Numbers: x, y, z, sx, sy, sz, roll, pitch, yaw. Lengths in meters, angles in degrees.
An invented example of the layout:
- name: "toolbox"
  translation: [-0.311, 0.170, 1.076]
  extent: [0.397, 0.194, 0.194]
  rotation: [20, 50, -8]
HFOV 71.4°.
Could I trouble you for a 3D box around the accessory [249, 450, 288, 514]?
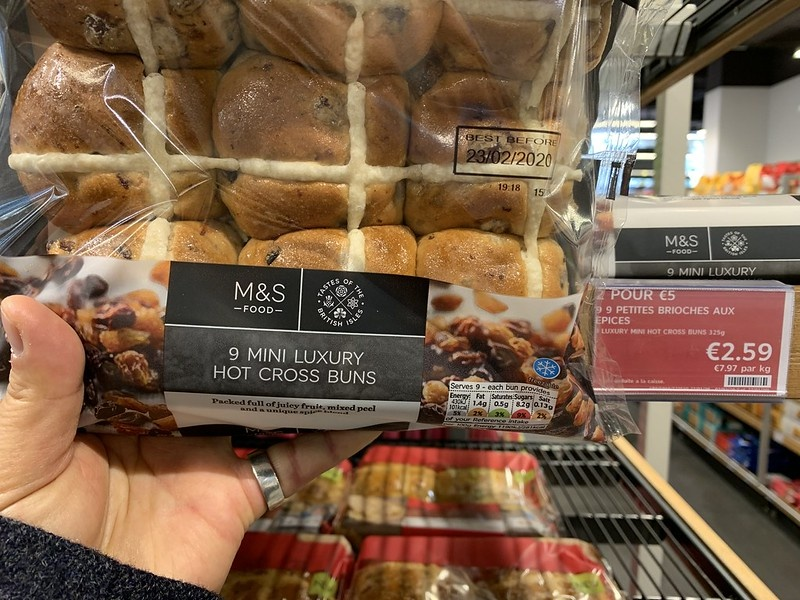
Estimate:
- name: "accessory"
  translation: [-0.194, 0.262, 0.818]
  extent: [0.022, 0.072, 0.070]
  rotation: [-18, -16, -14]
